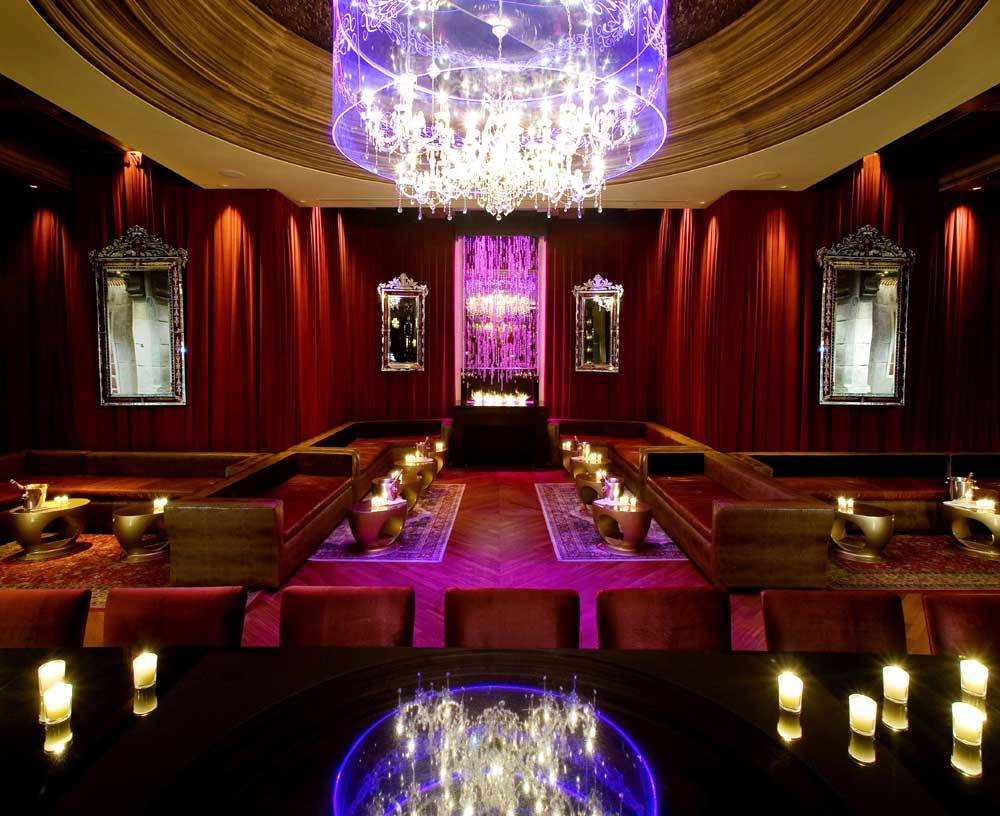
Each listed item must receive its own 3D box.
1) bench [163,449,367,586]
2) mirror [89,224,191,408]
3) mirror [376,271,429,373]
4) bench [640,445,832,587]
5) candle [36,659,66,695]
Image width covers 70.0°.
[{"bbox_3d":[-1.916,0.851,6.227,0.803,0.908,2.467,2,0,3],"label":"bench"},{"bbox_3d":[-3.759,-0.950,7.473,0.968,1.721,0.219,2,0,2],"label":"mirror"},{"bbox_3d":[-1.375,-1.167,9.935,0.657,1.300,0.081,2,0,-7],"label":"mirror"},{"bbox_3d":[1.907,0.869,6.260,0.840,1.026,2.464,2,0,-3],"label":"bench"},{"bbox_3d":[-1.723,1.029,2.732,0.095,0.126,0.103,3,-2,22],"label":"candle"}]
